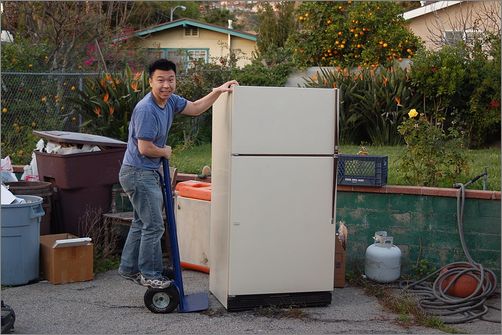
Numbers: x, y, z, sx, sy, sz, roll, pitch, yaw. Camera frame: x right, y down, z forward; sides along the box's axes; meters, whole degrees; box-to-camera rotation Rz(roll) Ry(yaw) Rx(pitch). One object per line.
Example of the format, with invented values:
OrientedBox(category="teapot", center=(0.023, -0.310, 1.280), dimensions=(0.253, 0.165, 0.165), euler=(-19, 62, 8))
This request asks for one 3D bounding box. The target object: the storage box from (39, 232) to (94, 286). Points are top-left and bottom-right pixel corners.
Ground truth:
OrientedBox(category="storage box", center=(-2.554, 1.209, 6.245), dimensions=(0.736, 0.607, 0.532), euler=(6, 5, 43))

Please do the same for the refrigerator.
OrientedBox(category="refrigerator", center=(0.257, 0.373, 6.109), dimensions=(1.371, 2.837, 1.404), euler=(1, 3, -7))

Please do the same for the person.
OrientedBox(category="person", center=(-0.934, 0.083, 5.754), dimensions=(1.144, 3.080, 0.963), euler=(1, 1, 26))

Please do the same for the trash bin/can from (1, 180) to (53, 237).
OrientedBox(category="trash bin/can", center=(-3.135, 0.553, 6.548), dimensions=(0.534, 0.883, 0.569), euler=(1, -3, 1))

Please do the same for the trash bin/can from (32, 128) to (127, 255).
OrientedBox(category="trash bin/can", center=(-2.605, 0.372, 7.054), dimensions=(0.935, 1.817, 1.110), euler=(13, 15, 40))

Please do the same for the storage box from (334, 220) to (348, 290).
OrientedBox(category="storage box", center=(1.206, 1.176, 6.094), dimensions=(0.179, 0.864, 0.176), euler=(0, -1, 6))
